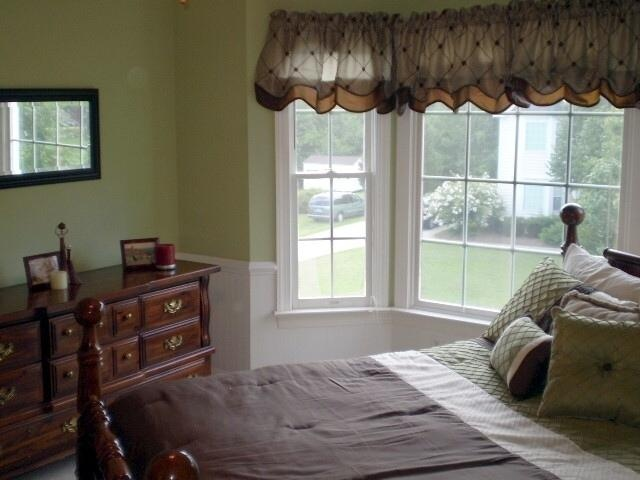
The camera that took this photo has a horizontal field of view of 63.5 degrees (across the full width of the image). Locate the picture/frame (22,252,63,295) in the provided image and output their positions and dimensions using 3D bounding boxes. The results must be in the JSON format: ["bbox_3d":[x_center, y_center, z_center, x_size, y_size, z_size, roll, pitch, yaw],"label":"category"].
[{"bbox_3d":[-1.676,0.207,3.144,0.014,0.212,0.199,-9,5,38],"label":"picture/frame"}]

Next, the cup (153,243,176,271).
[{"bbox_3d":[-1.079,0.124,3.589,0.153,0.184,0.153,1,2,0],"label":"cup"}]
